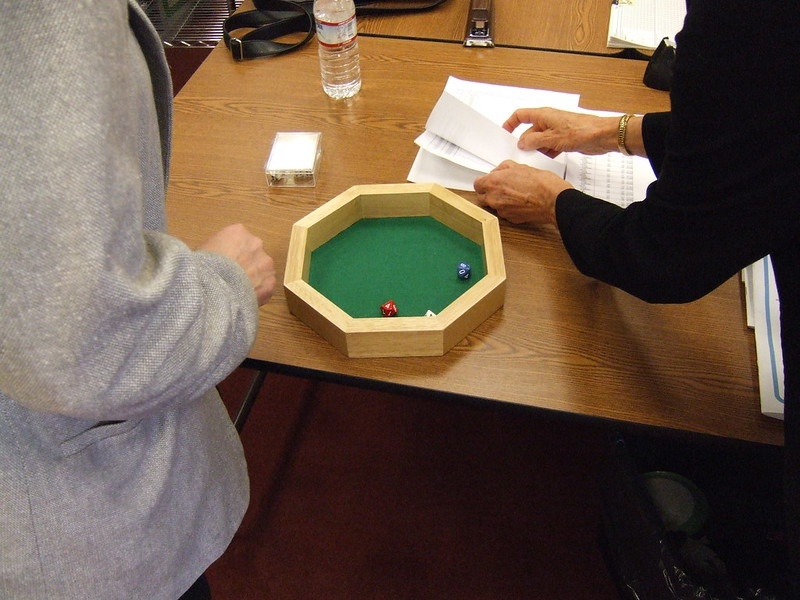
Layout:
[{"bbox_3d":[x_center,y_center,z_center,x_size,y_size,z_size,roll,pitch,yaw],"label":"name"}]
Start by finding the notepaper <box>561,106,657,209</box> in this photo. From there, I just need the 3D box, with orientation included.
[{"bbox_3d":[0.520,-0.329,1.455,0.185,0.044,0.178,10,61,10],"label":"notepaper"}]

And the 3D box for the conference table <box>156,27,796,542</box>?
[{"bbox_3d":[0.153,0.095,2.073,1.537,1.031,0.917,5,64,6],"label":"conference table"}]

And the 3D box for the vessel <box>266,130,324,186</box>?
[{"bbox_3d":[-0.262,-0.353,1.504,0.133,0.054,0.142,2,63,9],"label":"vessel"}]

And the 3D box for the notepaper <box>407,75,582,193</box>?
[{"bbox_3d":[0.230,-0.393,1.514,0.351,0.080,0.376,15,59,5],"label":"notepaper"}]
